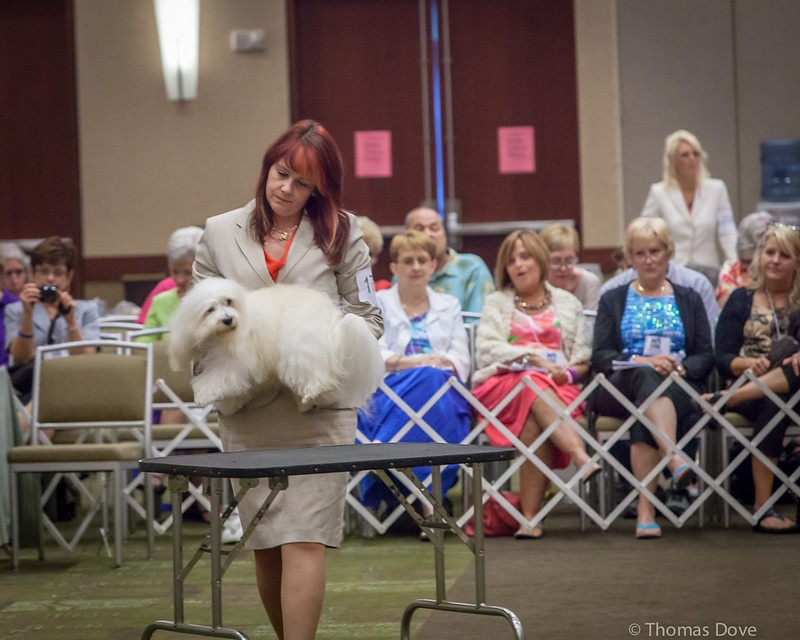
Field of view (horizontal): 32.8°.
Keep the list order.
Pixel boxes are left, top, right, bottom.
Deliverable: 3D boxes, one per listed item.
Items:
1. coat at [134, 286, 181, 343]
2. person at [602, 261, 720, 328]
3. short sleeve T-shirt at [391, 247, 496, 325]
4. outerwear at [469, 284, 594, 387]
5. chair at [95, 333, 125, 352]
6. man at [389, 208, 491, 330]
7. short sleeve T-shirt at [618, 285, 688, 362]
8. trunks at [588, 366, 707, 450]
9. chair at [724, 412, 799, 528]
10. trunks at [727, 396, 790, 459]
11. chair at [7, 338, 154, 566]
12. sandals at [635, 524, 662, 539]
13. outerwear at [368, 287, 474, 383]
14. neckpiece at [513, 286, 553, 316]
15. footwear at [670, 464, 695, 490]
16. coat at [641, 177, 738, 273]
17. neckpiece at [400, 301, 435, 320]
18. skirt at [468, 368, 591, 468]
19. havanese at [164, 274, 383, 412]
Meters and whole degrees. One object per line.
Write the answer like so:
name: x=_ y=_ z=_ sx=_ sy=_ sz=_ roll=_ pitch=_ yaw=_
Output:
coat: x=-1.424 y=-0.031 z=7.949 sx=0.355 sy=0.360 sz=0.193 roll=2 pitch=1 yaw=14
person: x=1.568 y=-0.004 z=8.020 sx=0.725 sy=0.566 sz=0.383 roll=-1 pitch=-10 yaw=6
short sleeve T-shirt: x=0.307 y=-0.189 z=8.539 sx=0.584 sy=0.498 sz=0.297 roll=-5 pitch=-1 yaw=32
outerwear: x=0.746 y=0.065 z=7.875 sx=0.810 sy=0.737 sz=0.475 roll=0 pitch=-17 yaw=-8
chair: x=-1.795 y=0.150 z=8.364 sx=0.179 sy=0.150 sz=0.182 roll=1 pitch=-9 yaw=-10
man: x=0.258 y=-0.252 z=8.525 sx=0.616 sy=0.899 sz=0.497 roll=-12 pitch=-2 yaw=22
short sleeve T-shirt: x=1.455 y=0.046 z=7.714 sx=0.391 sy=0.537 sz=0.294 roll=0 pitch=-4 yaw=14
trunks: x=1.350 y=0.469 z=7.489 sx=0.623 sy=0.443 sz=0.261 roll=-1 pitch=2 yaw=12
chair: x=2.022 y=0.780 z=7.421 sx=0.331 sy=0.706 sz=0.431 roll=-2 pitch=2 yaw=-20
trunks: x=1.992 y=0.568 z=7.371 sx=0.318 sy=0.319 sz=0.102 roll=2 pitch=3 yaw=26
chair: x=-1.750 y=0.694 z=7.497 sx=0.770 sy=1.170 sz=1.036 roll=-2 pitch=2 yaw=-11
sandals: x=1.346 y=1.126 z=7.291 sx=0.147 sy=0.075 sz=0.114 roll=-1 pitch=2 yaw=-2
outerwear: x=0.132 y=0.061 z=7.895 sx=0.752 sy=0.766 sz=0.441 roll=-1 pitch=-10 yaw=-5
neckpiece: x=0.747 y=-0.119 z=7.746 sx=0.150 sy=0.044 sz=0.142 roll=5 pitch=44 yaw=39
footwear: x=1.508 y=0.847 z=7.237 sx=0.086 sy=0.160 sz=0.066 roll=-19 pitch=52 yaw=-26
coat: x=1.804 y=-0.581 z=8.438 sx=0.628 sy=0.628 sz=0.343 roll=0 pitch=-1 yaw=-4
neckpiece: x=0.095 y=-0.061 z=7.806 sx=0.114 sy=0.113 sz=0.028 roll=1 pitch=-17 yaw=-6
skirt: x=0.708 y=0.545 z=7.518 sx=0.602 sy=0.547 sz=0.312 roll=-1 pitch=2 yaw=6
havanese: x=-0.518 y=0.113 z=5.432 sx=0.801 sy=0.507 sz=0.542 roll=3 pitch=6 yaw=-8
